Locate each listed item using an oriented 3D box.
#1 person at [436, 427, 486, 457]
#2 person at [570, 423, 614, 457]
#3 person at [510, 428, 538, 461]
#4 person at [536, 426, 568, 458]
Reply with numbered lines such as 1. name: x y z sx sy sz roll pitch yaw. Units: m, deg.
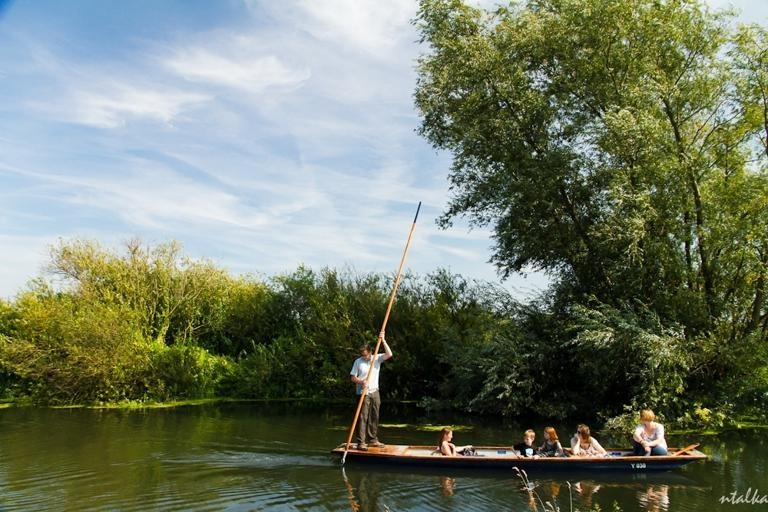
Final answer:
1. person: 2.381 5.939 18.993 1.529 1.034 0.700 1 -10 -2
2. person: 6.358 5.895 18.689 0.937 1.158 0.731 -14 -45 22
3. person: 4.573 6.191 19.515 0.982 1.088 0.644 3 -19 5
4. person: 5.412 5.913 18.977 0.919 0.646 0.759 8 -14 -9
